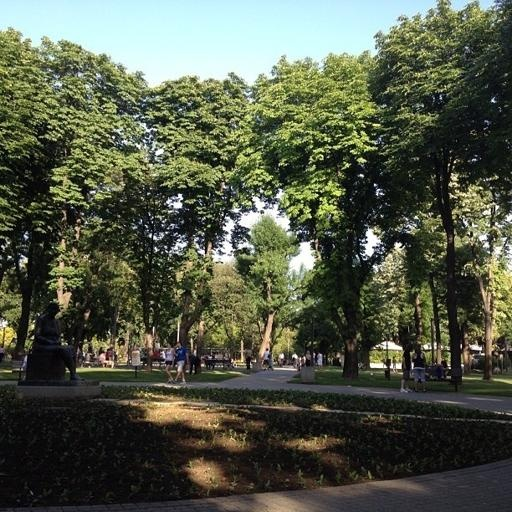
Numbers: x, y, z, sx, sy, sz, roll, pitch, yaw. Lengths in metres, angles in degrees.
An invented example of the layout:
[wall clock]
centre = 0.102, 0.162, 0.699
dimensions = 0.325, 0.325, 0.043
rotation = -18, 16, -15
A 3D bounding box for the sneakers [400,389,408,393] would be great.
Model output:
[sneakers]
centre = 6.286, 5.776, 25.491
dimensions = 0.479, 0.191, 0.160
rotation = -4, -4, 30

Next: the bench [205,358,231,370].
[bench]
centre = -3.339, 9.437, 52.201
dimensions = 1.492, 0.547, 2.414
rotation = 2, 3, -9
